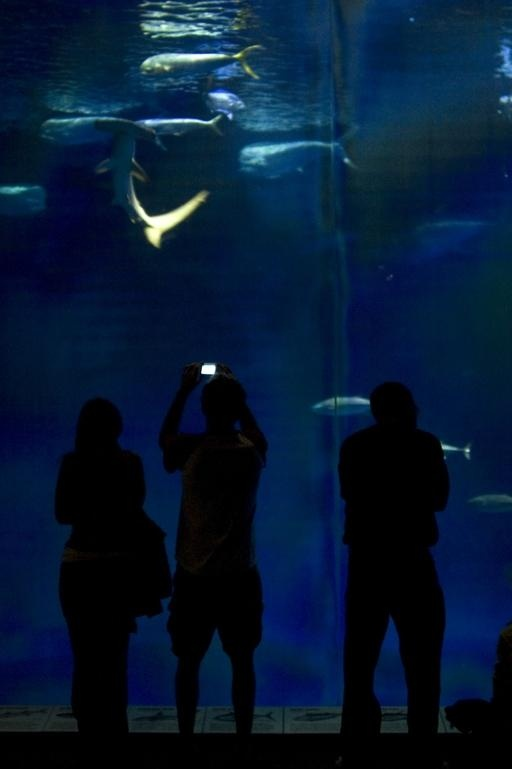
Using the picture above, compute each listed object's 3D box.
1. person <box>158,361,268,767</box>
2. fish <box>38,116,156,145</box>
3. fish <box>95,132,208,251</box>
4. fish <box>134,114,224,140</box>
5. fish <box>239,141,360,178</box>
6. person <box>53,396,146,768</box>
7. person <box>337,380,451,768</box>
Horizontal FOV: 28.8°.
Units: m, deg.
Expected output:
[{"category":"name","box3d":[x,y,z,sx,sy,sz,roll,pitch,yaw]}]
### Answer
[{"category":"person","box3d":[-0.231,0.984,5.576,0.605,2.239,0.371,0,-5,-6]},{"category":"fish","box3d":[-1.231,-1.910,7.496,0.565,0.124,0.311,-1,-2,-11]},{"category":"fish","box3d":[-0.799,-1.503,7.598,0.412,1.196,0.340,-20,11,37]},{"category":"fish","box3d":[-0.540,-1.964,7.676,0.852,0.189,0.209,1,34,5]},{"category":"fish","box3d":[0.272,-1.732,7.439,0.676,0.184,0.342,1,40,24]},{"category":"person","box3d":[-0.865,1.099,5.603,0.485,2.044,0.270,0,-5,-4]},{"category":"person","box3d":[0.777,1.083,5.643,0.625,2.170,0.220,-1,-5,5]}]
